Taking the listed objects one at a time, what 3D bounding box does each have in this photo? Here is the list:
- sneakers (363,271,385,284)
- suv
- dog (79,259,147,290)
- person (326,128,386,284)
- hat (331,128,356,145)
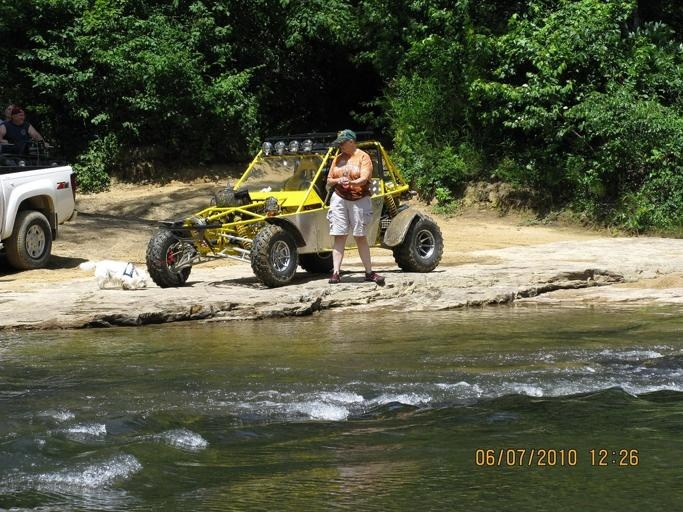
[{"bbox_3d":[0.453,0.295,12.771,0.122,0.102,0.295,-10,11,-35],"label":"sneakers"},{"bbox_3d":[-0.708,-0.700,13.376,3.717,1.649,2.387,-1,1,-42],"label":"suv"},{"bbox_3d":[-3.022,0.259,12.773,0.698,0.351,0.581,-2,8,-9],"label":"dog"},{"bbox_3d":[0.182,-0.650,12.609,0.717,2.060,0.438,-1,8,-1],"label":"person"},{"bbox_3d":[0.038,-1.586,12.494,0.326,0.144,0.207,-3,1,-5],"label":"hat"}]
